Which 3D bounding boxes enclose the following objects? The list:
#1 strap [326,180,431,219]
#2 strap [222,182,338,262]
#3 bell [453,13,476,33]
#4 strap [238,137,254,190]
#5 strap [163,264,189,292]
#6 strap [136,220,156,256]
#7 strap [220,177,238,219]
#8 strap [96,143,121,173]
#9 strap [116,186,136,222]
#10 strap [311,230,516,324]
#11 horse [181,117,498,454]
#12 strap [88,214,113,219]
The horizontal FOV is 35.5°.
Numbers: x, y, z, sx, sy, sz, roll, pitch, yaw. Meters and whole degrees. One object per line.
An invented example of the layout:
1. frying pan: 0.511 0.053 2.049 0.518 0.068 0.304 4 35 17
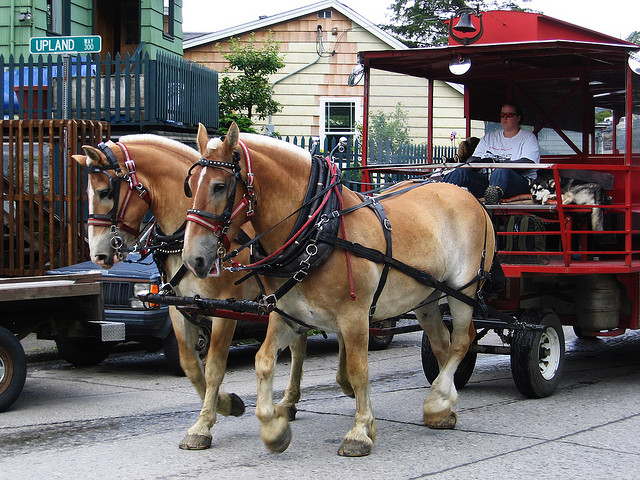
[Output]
1. strap: 0.613 -0.406 10.333 1.576 0.179 0.144 -15 28 -41
2. strap: -0.368 -0.186 9.577 1.340 0.186 0.083 -31 21 -5
3. bell: 1.925 -2.904 13.451 0.279 0.278 0.265 0 -11 4
4. strap: -0.712 -0.720 9.510 0.108 0.462 0.266 -3 8 -22
5. strap: -1.498 0.405 10.512 0.209 0.298 0.073 44 -6 41
6. strap: -1.825 0.016 10.561 0.203 0.247 0.066 8 -14 7
7. strap: -0.820 -0.353 9.291 0.208 0.256 0.077 7 6 43
8. strap: -2.158 -0.843 10.357 0.091 0.292 0.215 -39 -4 -19
9. strap: -2.020 -0.361 10.310 0.108 0.376 0.052 26 -4 -22
10. strap: 0.895 0.376 10.280 2.846 0.292 0.240 19 3 -27
11. horse: 0.436 0.586 10.533 1.511 3.014 4.708 -3 -5 45
12. strap: -2.259 -0.238 10.259 0.246 0.049 0.083 0 7 2
